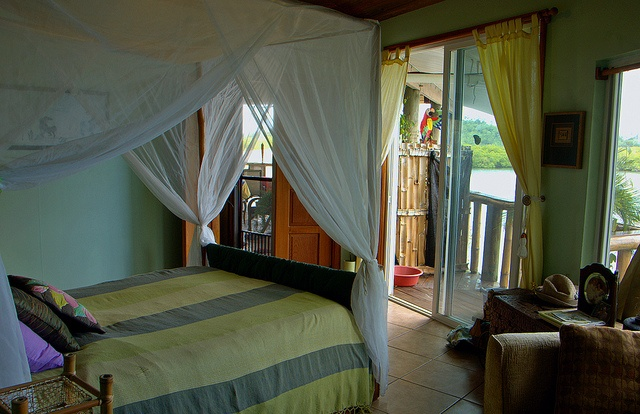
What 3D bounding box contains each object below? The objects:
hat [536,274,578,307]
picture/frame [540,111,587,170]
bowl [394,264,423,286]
[{"bbox_3d":[1.763,0.620,3.696,0.248,0.103,0.218,12,18,40],"label":"hat"},{"bbox_3d":[2.036,-0.565,4.114,0.063,0.658,0.433,-5,9,-35],"label":"picture/frame"},{"bbox_3d":[1.108,0.875,6.255,0.337,0.208,0.358,-2,3,0],"label":"bowl"}]
